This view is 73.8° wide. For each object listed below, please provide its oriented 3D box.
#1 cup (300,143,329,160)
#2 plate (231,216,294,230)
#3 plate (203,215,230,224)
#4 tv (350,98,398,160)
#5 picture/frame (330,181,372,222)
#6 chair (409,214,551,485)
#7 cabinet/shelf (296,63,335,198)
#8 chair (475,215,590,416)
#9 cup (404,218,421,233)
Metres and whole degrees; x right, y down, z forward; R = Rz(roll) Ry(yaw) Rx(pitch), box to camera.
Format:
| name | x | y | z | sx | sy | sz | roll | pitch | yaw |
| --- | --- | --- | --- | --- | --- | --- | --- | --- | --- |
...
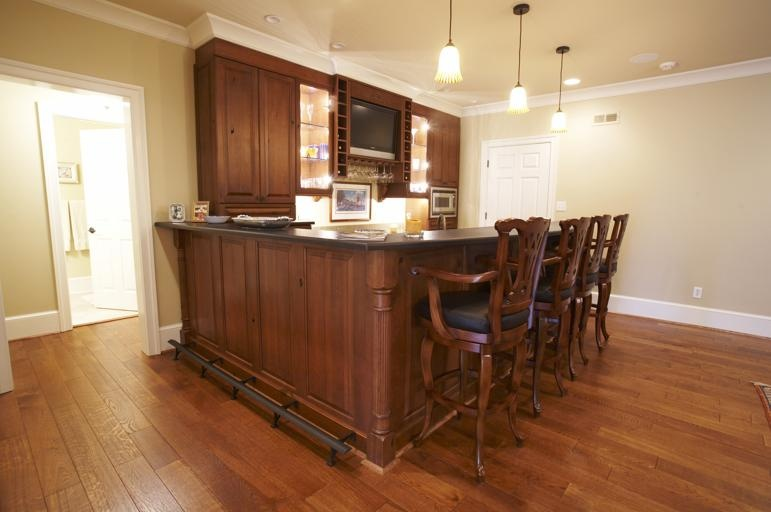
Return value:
| name | x | y | z | sx | sy | sz | roll | pitch | yaw |
| --- | --- | --- | --- | --- | --- | --- | --- | --- | --- |
| cup | -0.863 | -1.248 | 6.262 | 0.181 | 0.215 | 0.340 | 13 | 16 | 42 |
| plate | -1.208 | -0.321 | 4.954 | 0.594 | 0.109 | 0.252 | 6 | 11 | 36 |
| plate | -1.770 | -0.381 | 5.419 | 0.249 | 0.096 | 0.318 | -4 | 10 | -18 |
| tv | -0.218 | -1.673 | 6.726 | 0.989 | 0.680 | 0.097 | 3 | 2 | -41 |
| picture/frame | -0.459 | -0.741 | 7.059 | 0.085 | 0.549 | 0.754 | 8 | 13 | 40 |
| chair | 0.856 | 0.691 | 4.482 | 0.832 | 2.068 | 1.261 | 9 | 14 | 44 |
| cabinet/shelf | -1.037 | -1.476 | 6.559 | 0.409 | 1.413 | 0.738 | 0 | 13 | -32 |
| chair | 1.685 | 0.440 | 5.070 | 0.822 | 1.460 | 0.715 | 6 | 21 | 32 |
| cup | 0.255 | -0.271 | 4.672 | 0.130 | 0.116 | 0.127 | 1 | 13 | 0 |
